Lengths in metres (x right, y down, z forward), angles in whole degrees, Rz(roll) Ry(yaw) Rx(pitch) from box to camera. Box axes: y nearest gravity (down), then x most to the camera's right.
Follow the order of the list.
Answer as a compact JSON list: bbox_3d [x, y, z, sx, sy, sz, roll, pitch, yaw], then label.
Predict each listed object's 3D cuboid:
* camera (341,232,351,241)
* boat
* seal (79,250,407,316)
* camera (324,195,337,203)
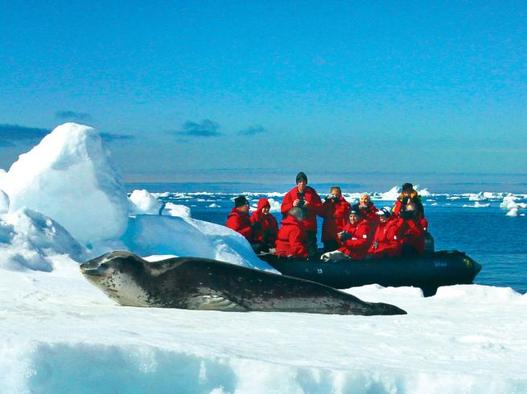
[{"bbox_3d":[1.534,0.714,15.002,0.093,0.150,0.222,-1,2,45],"label":"camera"},{"bbox_3d":[2.538,1.294,15.824,3.442,0.377,1.473,-2,8,6],"label":"boat"},{"bbox_3d":[-0.540,1.119,10.518,3.617,0.919,0.329,-2,2,-4],"label":"seal"},{"bbox_3d":[1.343,0.031,15.874,0.283,0.071,0.208,-17,-2,32],"label":"camera"}]
